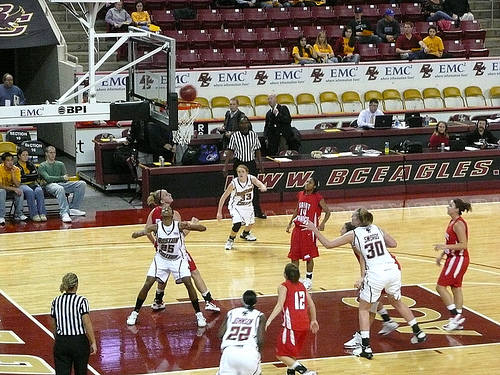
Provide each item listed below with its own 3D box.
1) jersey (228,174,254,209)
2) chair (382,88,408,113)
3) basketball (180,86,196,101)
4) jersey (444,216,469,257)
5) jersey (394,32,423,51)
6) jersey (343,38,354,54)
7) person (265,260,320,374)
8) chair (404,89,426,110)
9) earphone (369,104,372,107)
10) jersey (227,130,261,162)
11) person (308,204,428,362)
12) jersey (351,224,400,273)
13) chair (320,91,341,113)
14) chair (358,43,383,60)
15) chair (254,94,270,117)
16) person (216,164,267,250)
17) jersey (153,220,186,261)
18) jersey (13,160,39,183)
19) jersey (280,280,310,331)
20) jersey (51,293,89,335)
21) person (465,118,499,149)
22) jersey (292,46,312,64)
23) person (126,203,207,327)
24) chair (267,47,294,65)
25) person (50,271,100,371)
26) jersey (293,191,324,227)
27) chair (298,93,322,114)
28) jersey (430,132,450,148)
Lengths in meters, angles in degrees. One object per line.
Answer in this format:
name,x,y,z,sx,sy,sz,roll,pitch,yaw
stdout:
jersey,-0.158,0.088,11.717,0.554,0.755,0.416,-8,14,-29
chair,4.378,-2.397,19.165,0.673,1.250,0.894,-3,11,12
basketball,-1.498,-2.235,14.934,0.366,0.337,0.339,1,14,4
jersey,2.852,0.675,8.636,0.299,0.569,0.544,5,15,19
jersey,4.979,-4.815,19.878,0.763,0.635,0.446,-2,5,-1
jersey,3.037,-4.397,19.449,0.328,0.463,0.313,3,14,11
person,0.545,1.699,8.022,0.685,1.633,0.684,-16,28,-32
chair,5.146,-2.774,19.712,0.511,0.935,0.685,-3,30,2
earphone,3.213,-2.211,16.748,0.061,0.121,0.110,5,-4,3
jersey,-0.115,-0.886,13.049,0.684,0.683,0.372,-1,5,-9
person,1.536,1.160,8.133,1.338,2.007,0.847,0,11,9
jersey,1.545,0.771,7.802,0.423,0.660,0.210,-19,-3,-15
chair,2.422,-2.596,19.089,0.459,0.931,0.672,-3,29,0
chair,3.780,-4.315,19.775,0.485,0.733,0.631,-1,9,-3
chair,0.296,-2.425,18.450,0.405,0.607,0.443,0,33,-2
person,-0.142,0.375,11.610,0.744,1.664,0.762,-16,27,-31
jersey,-1.090,0.719,8.624,0.390,0.581,0.248,-2,14,-9
jersey,-4.617,-0.328,13.039,0.183,0.507,0.348,-30,-14,40
jersey,0.556,1.356,7.314,0.339,0.611,0.298,0,-7,-15
jersey,-1.924,1.326,6.654,0.411,0.454,0.240,-5,-29,-4
person,5.885,-1.348,16.075,1.039,1.081,0.642,-2,4,0
jersey,1.584,-4.009,18.990,0.577,0.494,0.398,-2,14,-8
person,-1.160,1.059,8.701,1.009,1.783,0.653,1,16,-3
chair,0.927,-4.095,19.459,0.689,0.618,0.512,0,-1,-11
person,-1.891,1.448,6.692,0.434,0.997,0.334,-2,14,-9
jersey,0.879,0.407,9.735,0.387,0.621,0.724,6,15,22
chair,1.747,-2.617,19.139,0.499,0.925,0.653,-1,23,-1
jersey,4.742,-1.176,15.709,0.445,0.422,0.285,4,15,16
